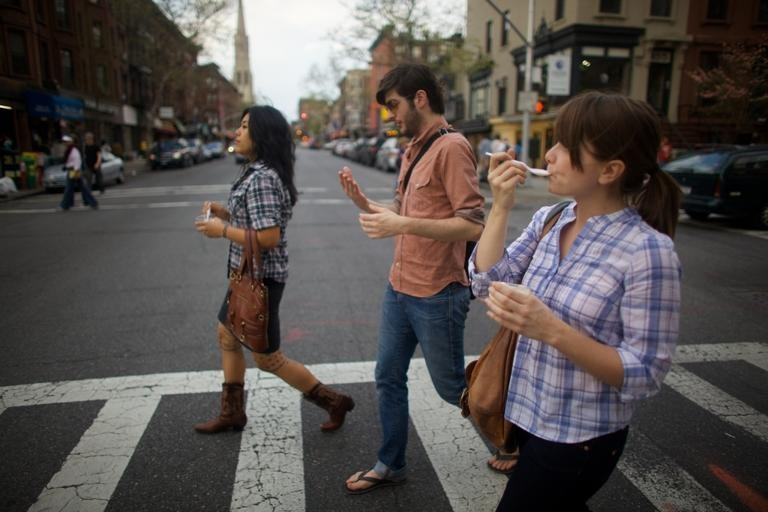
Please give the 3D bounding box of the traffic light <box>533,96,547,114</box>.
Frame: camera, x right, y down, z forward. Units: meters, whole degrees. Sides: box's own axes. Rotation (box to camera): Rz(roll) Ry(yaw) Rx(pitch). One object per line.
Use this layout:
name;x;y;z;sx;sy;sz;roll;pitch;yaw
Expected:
traffic light;5.438;-5.293;19.577;0.244;0.630;0.490;6;-4;4

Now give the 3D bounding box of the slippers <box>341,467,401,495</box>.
slippers;-0.057;1.621;4.166;0.368;0.137;0.192;-1;12;-4

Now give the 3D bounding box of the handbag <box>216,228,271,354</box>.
handbag;-1.067;0.263;4.423;0.354;0.903;0.270;-2;16;5
